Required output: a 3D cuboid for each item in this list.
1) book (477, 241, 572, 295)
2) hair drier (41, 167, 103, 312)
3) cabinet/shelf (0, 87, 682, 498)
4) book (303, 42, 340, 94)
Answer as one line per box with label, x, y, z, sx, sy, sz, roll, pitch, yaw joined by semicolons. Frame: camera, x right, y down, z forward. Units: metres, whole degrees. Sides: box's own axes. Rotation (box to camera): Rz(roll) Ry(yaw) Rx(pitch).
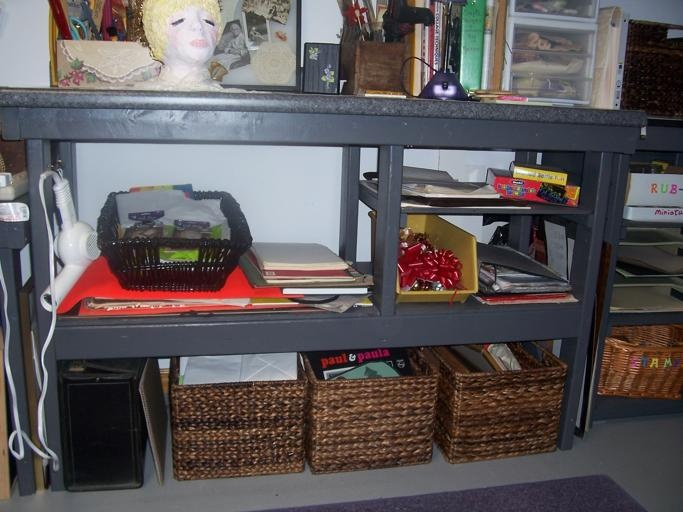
book;0.545;0.040;1.741;0.191;0.046;0.184;-1;21;-9
hair drier;-0.719;-0.054;1.478;0.154;0.345;0.223;-9;21;-17
cabinet/shelf;-0.003;0.133;1.630;1.329;0.746;0.371;-3;27;-10
book;-0.062;-0.600;1.801;0.128;0.152;0.069;-6;21;-10
